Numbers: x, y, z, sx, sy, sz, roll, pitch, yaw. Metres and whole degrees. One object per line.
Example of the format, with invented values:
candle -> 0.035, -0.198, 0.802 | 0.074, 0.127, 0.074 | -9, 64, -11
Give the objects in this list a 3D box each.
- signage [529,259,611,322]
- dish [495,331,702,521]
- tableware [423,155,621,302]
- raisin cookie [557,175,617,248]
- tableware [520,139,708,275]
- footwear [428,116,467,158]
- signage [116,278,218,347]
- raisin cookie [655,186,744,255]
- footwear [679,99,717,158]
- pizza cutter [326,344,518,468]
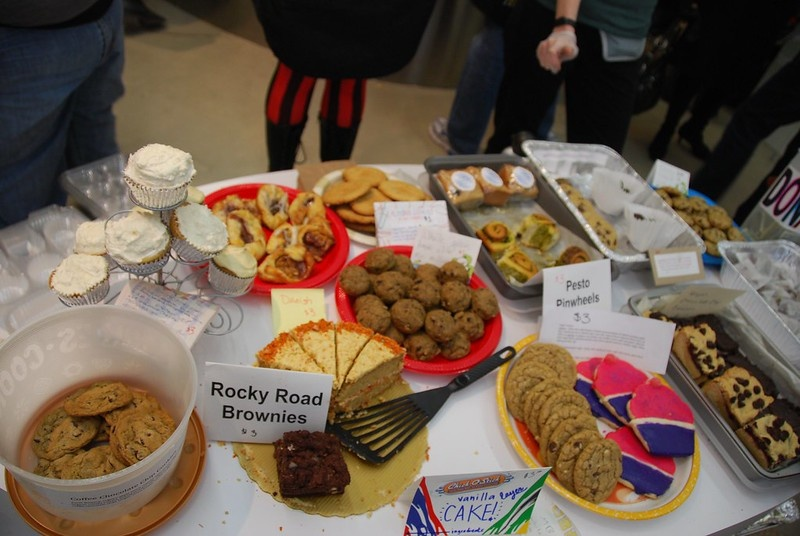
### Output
signage -> 0.829, 0.119, 2.729 | 0.276, 0.020, 0.248 | -5, 86, -11
dish -> 0.773, 0.805, 2.362 | 0.639, 0.106, 0.622 | 49, 36, 11
tableware -> 0.648, -0.260, 3.273 | 0.665, 0.181, 1.062 | -4, 53, -38
raisin cookie -> 1.087, -0.318, 3.278 | 0.120, 0.265, 0.454 | -44, 88, -1
tableware -> 1.305, -0.419, 3.477 | 0.651, 0.180, 1.012 | -11, 54, -23
footwear -> 0.445, -1.245, 5.704 | 0.319, 0.132, 0.436 | -24, 57, -1
signage -> -0.966, 0.150, 2.338 | 0.324, 0.082, 0.296 | 27, 44, -2
raisin cookie -> 1.791, -0.247, 3.430 | 0.412, 0.061, 0.430 | 1, 45, -23
footwear -> 3.135, -1.484, 5.919 | 0.393, 0.644, 0.170 | 12, 64, 8
pizza cutter -> 0.081, 0.567, 2.417 | 0.900, 0.063, 0.278 | -29, 68, -32
